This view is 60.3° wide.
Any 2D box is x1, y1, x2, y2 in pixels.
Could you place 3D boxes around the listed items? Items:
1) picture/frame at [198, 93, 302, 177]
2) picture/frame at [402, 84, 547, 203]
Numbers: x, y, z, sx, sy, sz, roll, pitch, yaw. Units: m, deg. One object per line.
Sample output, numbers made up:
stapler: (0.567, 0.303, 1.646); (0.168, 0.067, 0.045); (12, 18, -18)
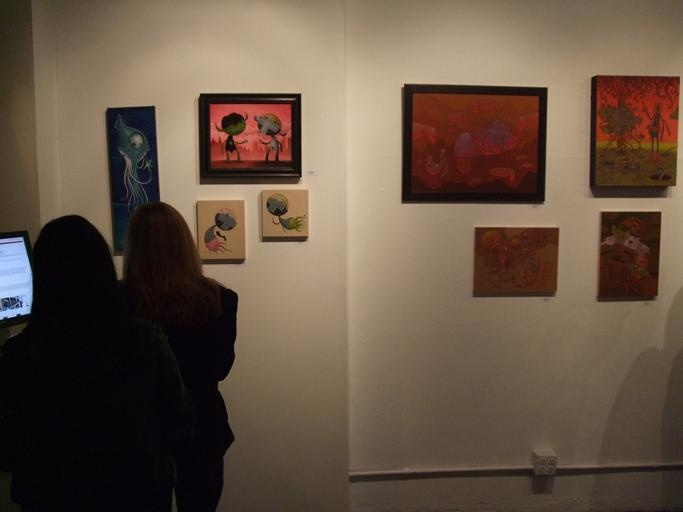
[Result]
picture/frame: (-0.542, -0.706, 3.369); (0.427, 0.399, 0.033); (-1, 1, -3)
picture/frame: (0.779, -0.712, 3.578); (0.643, 0.566, 0.031); (0, 1, -3)
